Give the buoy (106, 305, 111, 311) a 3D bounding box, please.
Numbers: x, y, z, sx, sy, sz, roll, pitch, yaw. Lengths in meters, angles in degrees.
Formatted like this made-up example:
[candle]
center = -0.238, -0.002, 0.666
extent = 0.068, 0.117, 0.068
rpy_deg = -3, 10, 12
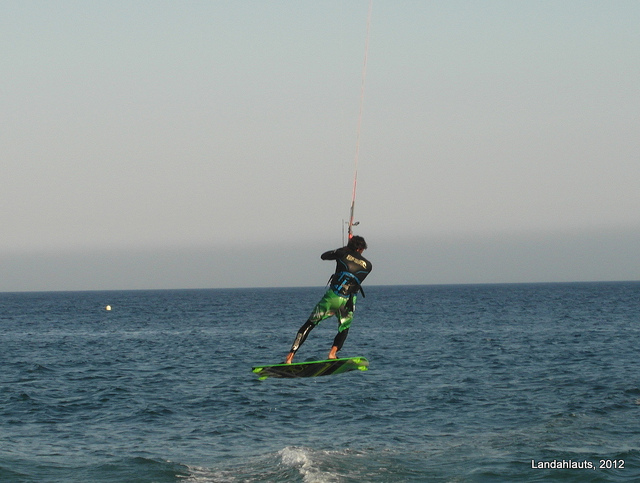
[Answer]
[buoy]
center = -33.748, 10.652, 150.875
extent = 0.886, 0.260, 1.008
rpy_deg = -1, 22, -3
